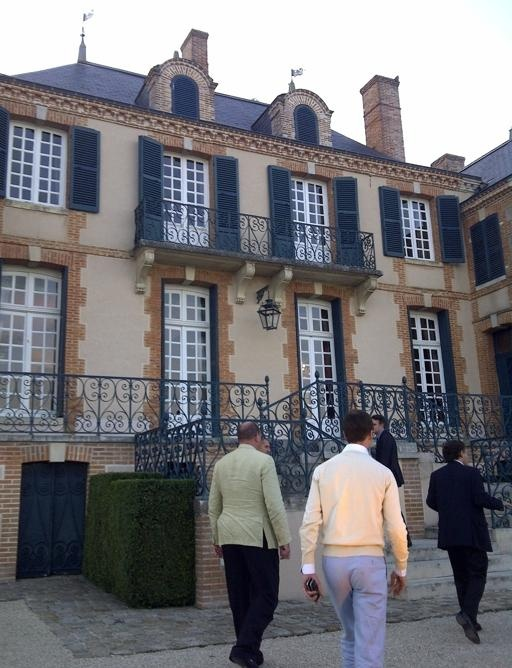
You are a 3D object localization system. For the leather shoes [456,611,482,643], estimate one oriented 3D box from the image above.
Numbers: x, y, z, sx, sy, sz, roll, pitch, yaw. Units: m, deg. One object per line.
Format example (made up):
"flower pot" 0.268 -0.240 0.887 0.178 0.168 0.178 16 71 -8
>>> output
"leather shoes" 1.695 2.338 5.569 0.133 0.293 0.098 -26 -4 -32

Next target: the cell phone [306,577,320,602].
"cell phone" 0.292 1.372 3.726 0.074 0.114 0.031 12 -45 -42

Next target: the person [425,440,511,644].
"person" 1.829 1.743 6.109 0.555 1.642 0.980 -2 -13 7

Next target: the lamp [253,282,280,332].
"lamp" 0.214 -0.523 14.257 0.501 0.930 0.354 -12 -23 32
